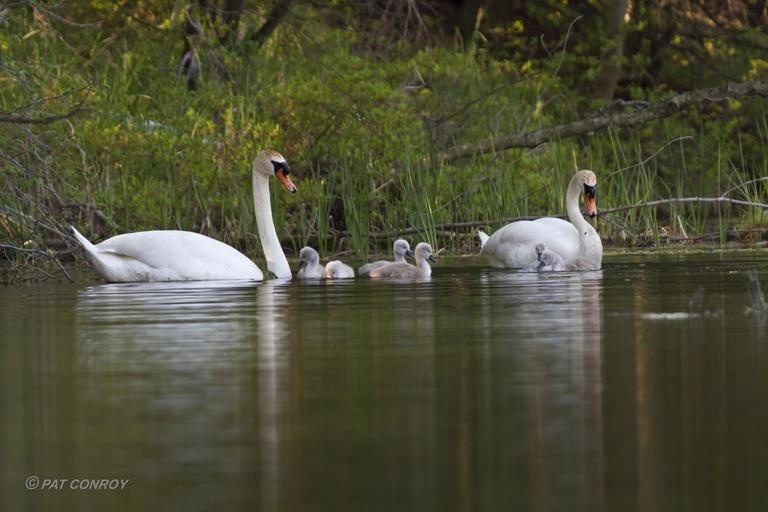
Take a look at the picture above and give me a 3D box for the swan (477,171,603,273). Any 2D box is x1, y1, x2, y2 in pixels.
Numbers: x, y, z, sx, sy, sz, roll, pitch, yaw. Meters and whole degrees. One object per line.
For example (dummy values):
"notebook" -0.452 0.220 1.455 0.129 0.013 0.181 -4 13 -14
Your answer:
"swan" 2.256 -0.486 13.903 1.730 1.499 1.144 2 2 14

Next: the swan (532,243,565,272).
"swan" 2.130 0.016 13.083 0.410 0.317 0.294 5 14 23

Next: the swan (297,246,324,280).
"swan" -0.930 0.078 12.914 0.312 0.438 0.331 -2 13 -5

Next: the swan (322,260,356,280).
"swan" -0.594 0.177 13.039 0.219 0.215 0.319 0 9 4

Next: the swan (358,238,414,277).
"swan" 0.270 0.120 13.162 0.870 0.638 0.335 4 -8 -4
